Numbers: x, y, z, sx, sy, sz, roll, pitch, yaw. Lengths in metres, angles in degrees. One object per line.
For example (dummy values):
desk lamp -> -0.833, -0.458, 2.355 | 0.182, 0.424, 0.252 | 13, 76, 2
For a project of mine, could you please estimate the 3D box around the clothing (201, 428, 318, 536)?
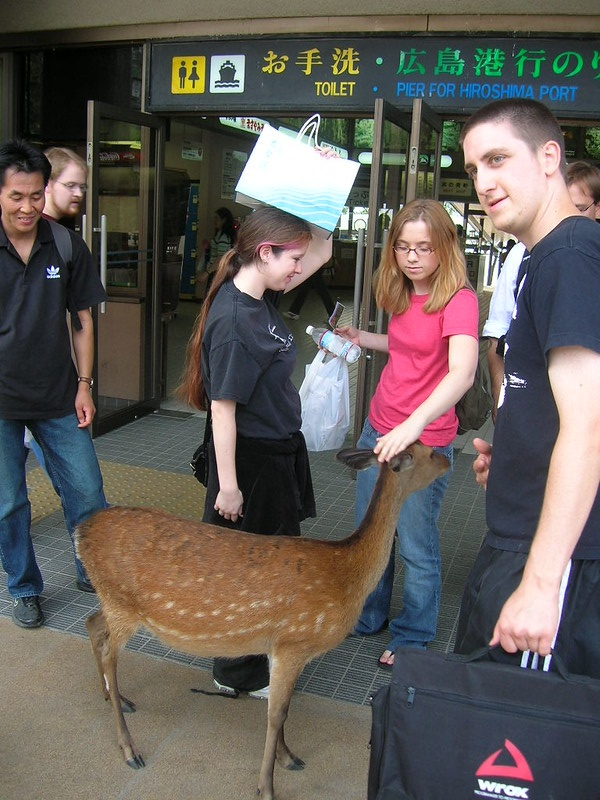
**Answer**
clothing -> -0.113, 0.303, 2.486 | 0.572, 0.504, 0.354 | -1, 13, -2

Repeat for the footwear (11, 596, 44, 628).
footwear -> -1.343, 1.052, 3.115 | 0.086, 0.094, 0.219 | 4, -2, -32

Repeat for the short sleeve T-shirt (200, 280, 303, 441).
short sleeve T-shirt -> -0.151, -0.129, 2.276 | 0.411, 0.571, 0.300 | 3, 7, -17
